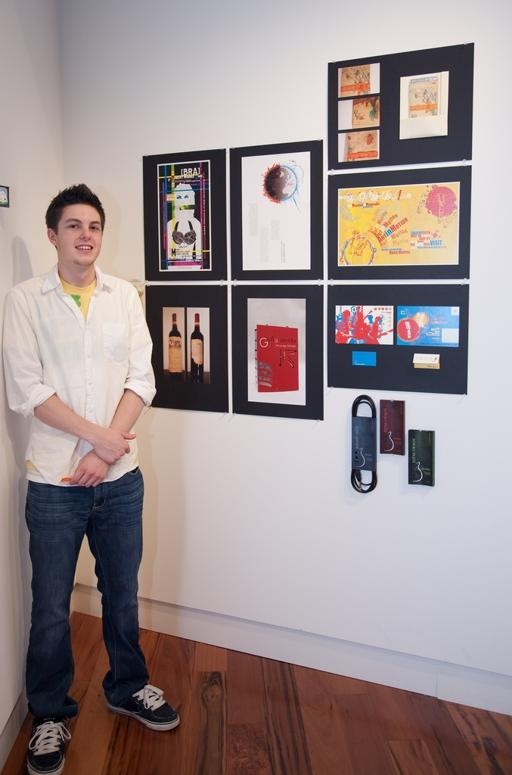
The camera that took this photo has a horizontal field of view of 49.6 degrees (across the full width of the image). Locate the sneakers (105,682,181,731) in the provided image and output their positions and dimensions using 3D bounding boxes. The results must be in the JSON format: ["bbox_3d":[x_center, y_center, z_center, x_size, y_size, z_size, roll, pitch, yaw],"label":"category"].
[{"bbox_3d":[-0.367,0.994,1.815,0.252,0.123,0.095,2,4,33],"label":"sneakers"}]

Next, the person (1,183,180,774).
[{"bbox_3d":[-0.492,0.246,1.681,0.472,1.677,0.283,-2,4,-33],"label":"person"}]
